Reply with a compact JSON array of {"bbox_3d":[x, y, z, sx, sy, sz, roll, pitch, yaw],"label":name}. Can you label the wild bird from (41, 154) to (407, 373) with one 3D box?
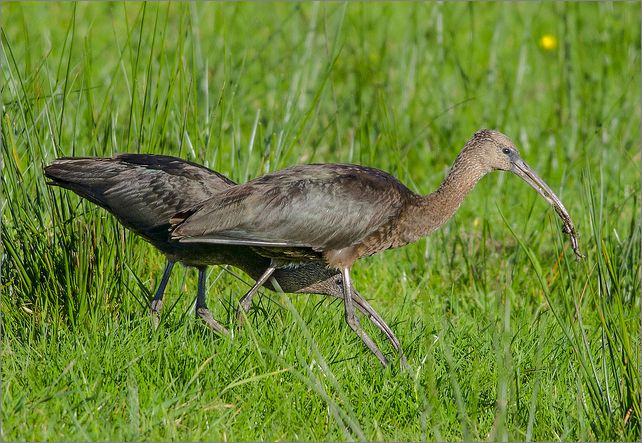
[{"bbox_3d":[-0.722,0.157,4.550,1.982,0.973,0.495,7,3,-15],"label":"wild bird"}]
